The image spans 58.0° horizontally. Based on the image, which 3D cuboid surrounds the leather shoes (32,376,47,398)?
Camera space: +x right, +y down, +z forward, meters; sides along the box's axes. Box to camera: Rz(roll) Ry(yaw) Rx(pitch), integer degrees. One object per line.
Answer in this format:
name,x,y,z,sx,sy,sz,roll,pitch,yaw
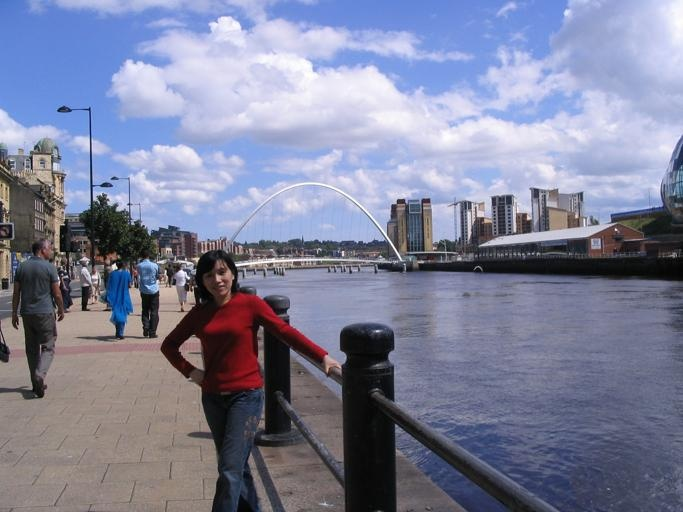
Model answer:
leather shoes,-4.224,1.834,8.607,0.149,0.288,0.265,-4,1,-29
